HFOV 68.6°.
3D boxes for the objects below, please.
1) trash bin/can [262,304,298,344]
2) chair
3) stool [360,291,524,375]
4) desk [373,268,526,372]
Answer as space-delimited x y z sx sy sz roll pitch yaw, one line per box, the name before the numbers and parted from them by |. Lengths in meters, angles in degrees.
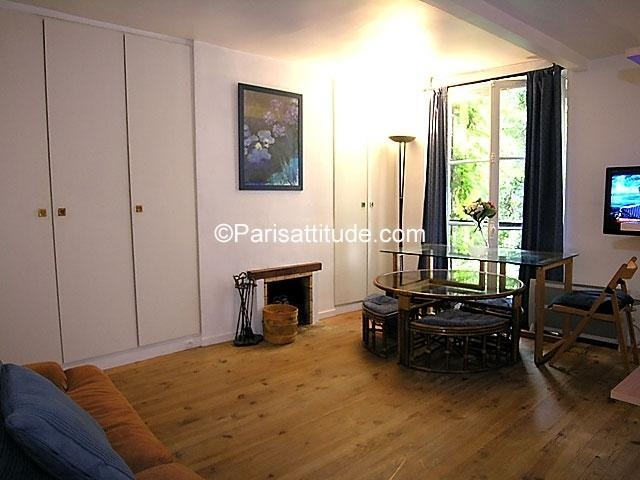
trash bin/can | -0.433 0.895 5.163 0.370 0.320 0.368 -1 2 -43
chair | 2.704 0.594 4.855 0.977 1.421 1.010 2 4 41
stool | 1.156 0.899 4.558 0.946 0.361 0.904 -3 3 -32
desk | 1.231 0.733 4.635 1.023 0.527 1.042 -2 2 -15
